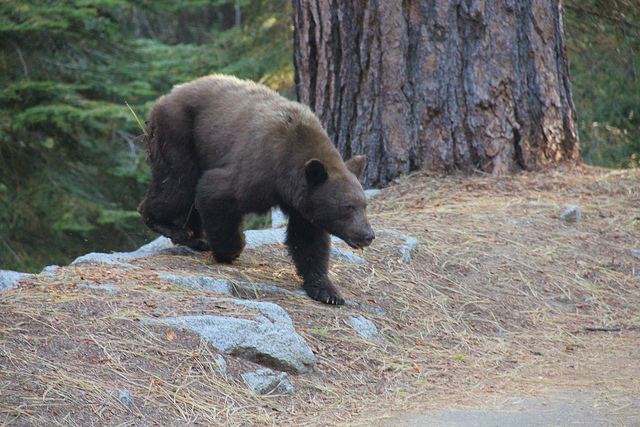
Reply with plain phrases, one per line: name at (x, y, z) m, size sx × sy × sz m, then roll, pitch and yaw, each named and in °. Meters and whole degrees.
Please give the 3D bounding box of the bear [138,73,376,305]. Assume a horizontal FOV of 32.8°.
bear at (-0.871, -0.336, 13.872) m, size 2.876 × 2.768 × 1.040 m, roll 0°, pitch 13°, yaw 22°
